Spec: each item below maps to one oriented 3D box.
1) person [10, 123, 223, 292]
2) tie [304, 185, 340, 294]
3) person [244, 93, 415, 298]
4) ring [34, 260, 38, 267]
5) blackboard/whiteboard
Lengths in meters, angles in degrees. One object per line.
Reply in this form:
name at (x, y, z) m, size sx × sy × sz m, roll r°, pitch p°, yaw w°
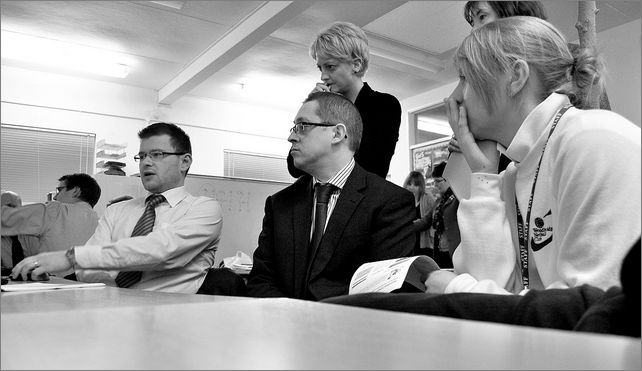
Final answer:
person at (-1.091, 0.155, 2.468) m, size 0.794 × 1.018 × 1.037 m, roll -1°, pitch -3°, yaw 29°
tie at (0.007, 0.232, 1.951) m, size 0.093 × 0.476 × 0.068 m, roll 7°, pitch -21°, yaw 18°
person at (-0.003, -0.003, 2.033) m, size 0.507 × 0.983 × 0.689 m, roll 6°, pitch -11°, yaw -43°
ring at (-1.221, 0.334, 1.888) m, size 0.023 × 0.028 × 0.010 m, roll -2°, pitch 1°, yaw -21°
blackboard/whiteboard at (-1.040, 0.266, 5.386) m, size 1.234 × 0.789 × 0.022 m, roll 3°, pitch 25°, yaw 31°
